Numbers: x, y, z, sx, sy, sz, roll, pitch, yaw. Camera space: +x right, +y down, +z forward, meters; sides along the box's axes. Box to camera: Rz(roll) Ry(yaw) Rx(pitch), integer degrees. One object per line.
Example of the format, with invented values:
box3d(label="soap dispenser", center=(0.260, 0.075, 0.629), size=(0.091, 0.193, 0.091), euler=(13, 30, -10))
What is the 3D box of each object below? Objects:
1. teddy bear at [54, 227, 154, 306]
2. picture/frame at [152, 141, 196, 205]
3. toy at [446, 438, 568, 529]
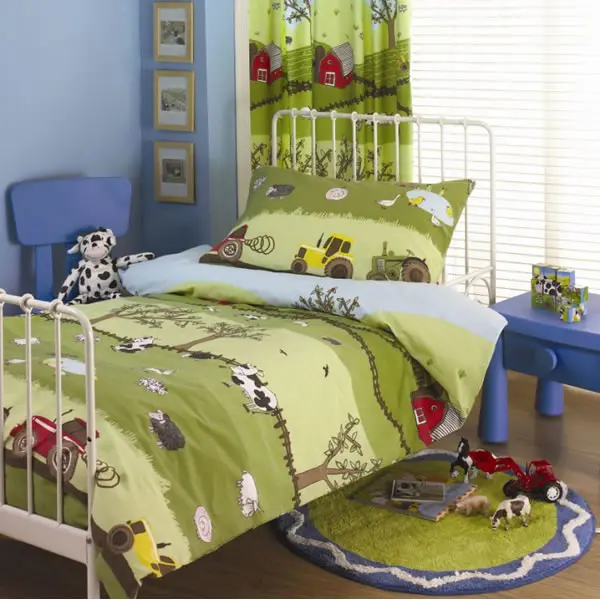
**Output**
box3d(label="teddy bear", center=(-0.772, -0.122, 2.504), size=(0.438, 0.273, 0.202), euler=(-6, 12, 5))
box3d(label="picture/frame", center=(-0.570, -0.600, 2.980), size=(0.330, 0.348, 0.029), euler=(7, 14, 32))
box3d(label="toy", center=(0.532, 0.507, 1.797), size=(0.381, 0.208, 0.143), euler=(-2, 1, -21))
